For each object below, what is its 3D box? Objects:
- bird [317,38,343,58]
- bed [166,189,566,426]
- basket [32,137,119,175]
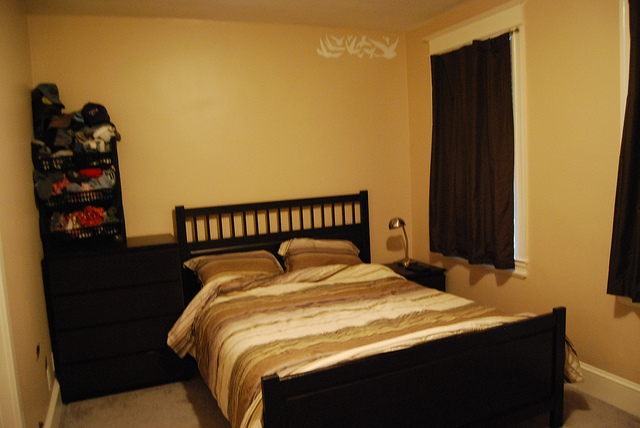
[{"bbox_3d":[0.072,-1.669,5.040,0.151,0.185,0.268,1,11,37],"label":"bird"},{"bbox_3d":[0.005,0.776,3.997,2.016,1.257,2.258,-6,11,-27],"label":"bed"},{"bbox_3d":[-2.030,-0.496,4.187,0.635,0.274,0.130,-11,10,-33],"label":"basket"}]
